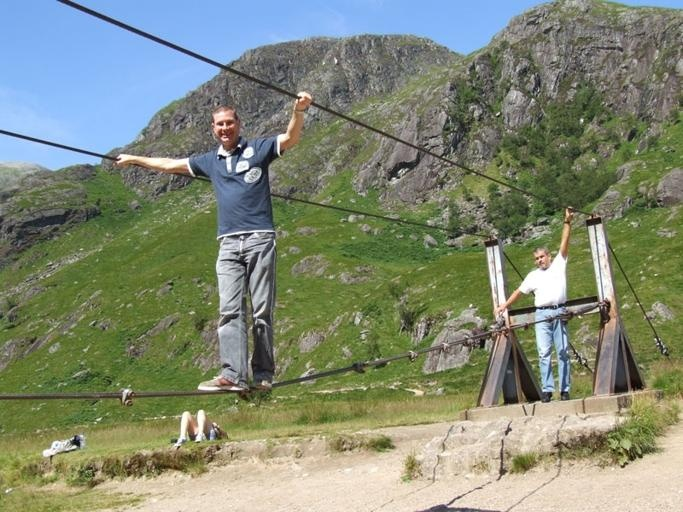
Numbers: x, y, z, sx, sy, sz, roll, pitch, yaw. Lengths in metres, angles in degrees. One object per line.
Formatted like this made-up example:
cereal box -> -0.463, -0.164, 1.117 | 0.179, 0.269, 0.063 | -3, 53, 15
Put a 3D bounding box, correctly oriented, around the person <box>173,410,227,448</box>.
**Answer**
person -> -5.683, 6.606, 26.105 | 0.882, 1.067, 2.464 | -12, -31, 44
